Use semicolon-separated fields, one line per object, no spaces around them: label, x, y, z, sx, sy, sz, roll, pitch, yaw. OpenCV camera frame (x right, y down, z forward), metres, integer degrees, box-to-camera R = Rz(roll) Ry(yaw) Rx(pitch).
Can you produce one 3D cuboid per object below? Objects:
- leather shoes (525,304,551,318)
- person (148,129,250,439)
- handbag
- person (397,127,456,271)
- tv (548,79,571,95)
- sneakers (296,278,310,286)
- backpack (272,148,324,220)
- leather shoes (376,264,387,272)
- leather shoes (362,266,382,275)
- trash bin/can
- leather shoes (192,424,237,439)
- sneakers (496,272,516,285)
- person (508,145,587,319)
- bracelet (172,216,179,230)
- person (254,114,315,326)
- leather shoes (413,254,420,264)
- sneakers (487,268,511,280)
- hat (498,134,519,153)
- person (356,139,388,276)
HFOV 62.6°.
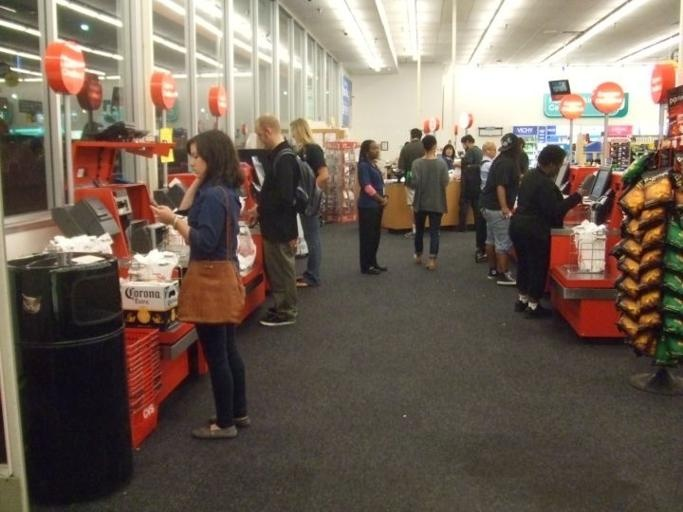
leather shoes;1.737;0.497;5.016;0.200;0.148;0.078;-5;15;-13
person;-0.710;0.154;2.912;0.431;1.572;0.407;-3;8;-15
handbag;-0.668;0.190;2.898;0.363;0.349;0.366;-7;10;-15
person;1.110;-0.546;7.241;0.475;1.373;0.694;1;8;7
tv;3.498;-2.693;9.054;0.315;0.256;0.334;6;11;35
sneakers;-0.436;0.296;6.262;0.167;0.078;0.065;2;14;7
backpack;-0.321;-0.605;4.946;0.519;0.531;0.375;-2;31;-4
leather shoes;0.490;0.151;6.985;0.171;0.117;0.061;-2;29;-6
leather shoes;0.381;0.178;6.891;0.217;0.101;0.091;-1;10;-1
trash bin/can;-1.144;0.544;2.425;0.422;1.010;0.224;-6;9;-32
leather shoes;-0.658;0.920;2.924;0.210;0.067;0.092;4;3;-1
sneakers;1.870;0.260;6.277;0.290;0.148;0.112;1;18;12
person;1.714;-0.199;4.907;0.476;1.494;0.339;2;8;18
bracelet;-0.834;-0.162;2.836;0.039;0.054;0.019;-19;38;-34
person;-0.482;-0.270;4.702;0.439;1.739;0.491;-1;8;-6
leather shoes;1.003;0.035;7.449;0.056;0.121;0.125;3;24;4
sneakers;1.777;0.213;6.427;0.294;0.136;0.109;-1;8;7
hat;1.737;-1.170;5.844;0.158;0.111;0.217;7;47;42
person;0.369;-0.565;6.727;0.352;1.603;0.505;0;8;4
